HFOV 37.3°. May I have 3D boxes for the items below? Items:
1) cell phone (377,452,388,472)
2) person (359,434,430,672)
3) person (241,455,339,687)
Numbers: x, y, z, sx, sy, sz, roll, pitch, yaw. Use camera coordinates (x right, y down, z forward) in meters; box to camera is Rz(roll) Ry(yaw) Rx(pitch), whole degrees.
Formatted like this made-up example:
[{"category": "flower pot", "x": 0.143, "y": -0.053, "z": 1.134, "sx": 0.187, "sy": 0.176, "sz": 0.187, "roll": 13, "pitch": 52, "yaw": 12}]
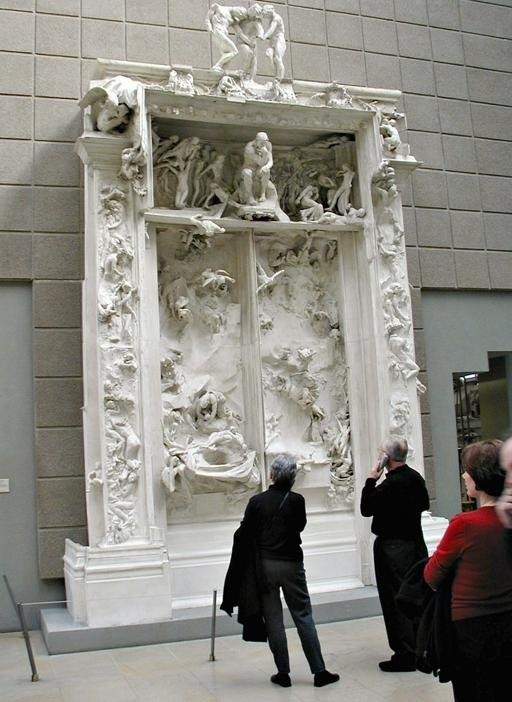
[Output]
[{"category": "cell phone", "x": 0.846, "y": 0.754, "z": 5.161, "sx": 0.028, "sy": 0.097, "sz": 0.104, "roll": 23, "pitch": -33, "yaw": -11}, {"category": "person", "x": 0.950, "y": 1.396, "z": 5.109, "sx": 0.446, "sy": 1.598, "sz": 0.508, "roll": -4, "pitch": -7, "yaw": 13}, {"category": "person", "x": 0.208, "y": 1.437, "z": 4.978, "sx": 0.382, "sy": 1.510, "sz": 0.497, "roll": -7, "pitch": -8, "yaw": 31}]
